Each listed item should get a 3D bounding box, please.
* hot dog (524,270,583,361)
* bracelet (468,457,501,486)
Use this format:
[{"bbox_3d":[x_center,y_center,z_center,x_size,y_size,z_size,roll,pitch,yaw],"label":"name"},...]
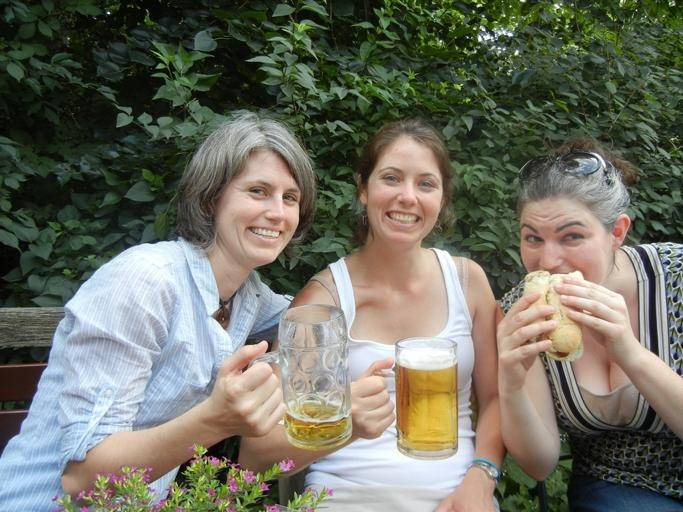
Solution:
[{"bbox_3d":[0.971,0.267,2.604,0.332,0.368,0.156,-3,0,8],"label":"hot dog"},{"bbox_3d":[0.721,1.083,2.865,0.085,0.125,0.116,-45,31,-10],"label":"bracelet"}]
